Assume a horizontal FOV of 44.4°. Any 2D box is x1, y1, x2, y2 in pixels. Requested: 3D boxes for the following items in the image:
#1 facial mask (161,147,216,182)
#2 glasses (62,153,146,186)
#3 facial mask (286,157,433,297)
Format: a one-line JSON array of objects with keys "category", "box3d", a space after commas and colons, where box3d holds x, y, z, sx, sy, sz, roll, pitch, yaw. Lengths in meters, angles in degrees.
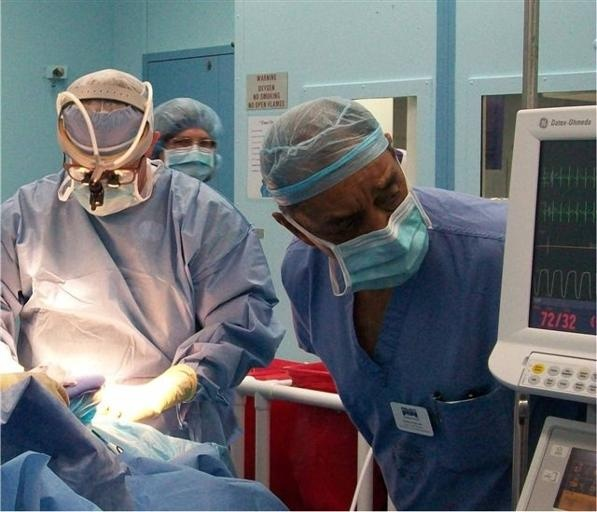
[{"category": "facial mask", "box3d": [-0.438, -0.375, 2.863, 0.216, 0.151, 0.242, 2, -1, 0]}, {"category": "glasses", "box3d": [-0.498, -0.219, 1.913, 0.213, 0.071, 0.097, -9, 13, -20]}, {"category": "facial mask", "box3d": [0.132, -0.064, 1.538, 0.224, 0.151, 0.260, -41, 51, -4]}]
